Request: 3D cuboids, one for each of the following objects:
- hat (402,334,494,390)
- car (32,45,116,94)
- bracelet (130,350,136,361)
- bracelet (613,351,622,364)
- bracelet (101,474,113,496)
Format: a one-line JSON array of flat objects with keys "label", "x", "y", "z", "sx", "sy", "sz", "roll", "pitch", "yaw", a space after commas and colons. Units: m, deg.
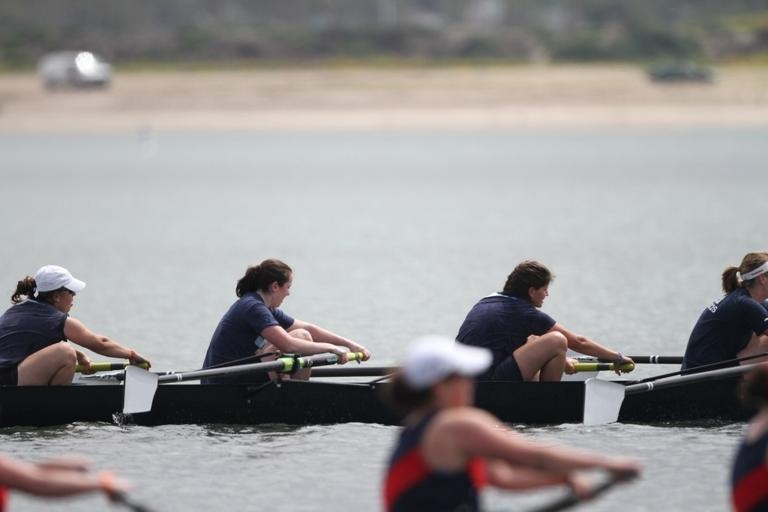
[{"label": "hat", "x": 1.123, "y": 1.933, "z": 27.890, "sx": 1.453, "sy": 0.532, "sz": 0.875, "roll": -9, "pitch": 23, "yaw": 2}, {"label": "car", "x": -12.680, "y": -7.553, "z": 63.666, "sx": 2.044, "sy": 1.398, "sz": 3.734, "roll": -8, "pitch": 12, "yaw": -37}, {"label": "bracelet", "x": -5.223, "y": 2.049, "z": 31.734, "sx": 0.157, "sy": 0.141, "sz": 0.065, "roll": 2, "pitch": -2, "yaw": -12}, {"label": "bracelet", "x": 4.946, "y": 2.112, "z": 31.806, "sx": 0.151, "sy": 0.181, "sz": 0.099, "roll": -2, "pitch": -9, "yaw": -5}, {"label": "bracelet", "x": -5.081, "y": 4.123, "z": 28.002, "sx": 0.223, "sy": 0.378, "sz": 0.160, "roll": -1, "pitch": 11, "yaw": -1}]
